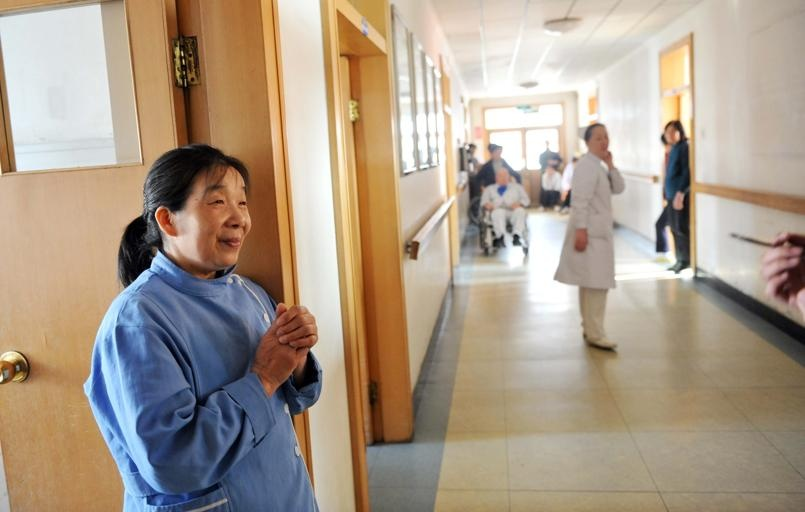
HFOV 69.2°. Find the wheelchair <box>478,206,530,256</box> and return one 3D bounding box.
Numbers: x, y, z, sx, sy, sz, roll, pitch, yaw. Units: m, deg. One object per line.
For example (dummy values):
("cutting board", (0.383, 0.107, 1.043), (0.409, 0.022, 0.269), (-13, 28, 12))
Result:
("wheelchair", (1.475, -0.373, 8.884), (0.587, 0.780, 0.795), (-1, -4, 4))

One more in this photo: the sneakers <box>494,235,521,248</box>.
("sneakers", (1.599, -0.239, 8.874), (0.425, 0.216, 0.258), (-2, 15, 9))

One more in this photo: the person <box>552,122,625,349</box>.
("person", (1.588, -0.158, 4.981), (0.522, 1.878, 0.506), (2, 16, 22))
